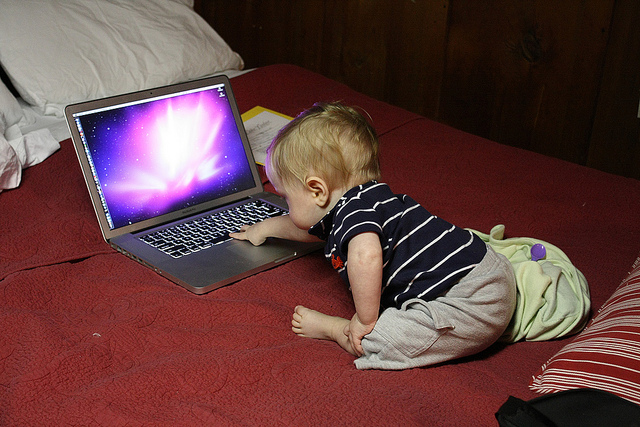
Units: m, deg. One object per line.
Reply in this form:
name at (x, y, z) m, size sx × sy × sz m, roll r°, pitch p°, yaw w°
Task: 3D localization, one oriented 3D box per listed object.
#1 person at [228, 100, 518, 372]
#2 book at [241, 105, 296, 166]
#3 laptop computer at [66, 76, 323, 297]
person at (0.091, 0.022, 1.184) m, size 0.706 × 0.548 × 0.404 m, roll 8°, pitch 17°, yaw 41°
book at (-0.197, -0.294, 1.726) m, size 0.208 × 0.011 × 0.242 m, roll 10°, pitch 44°, yaw 15°
laptop computer at (-0.305, -0.126, 1.255) m, size 0.546 × 0.375 × 0.518 m, roll 18°, pitch 30°, yaw 38°
